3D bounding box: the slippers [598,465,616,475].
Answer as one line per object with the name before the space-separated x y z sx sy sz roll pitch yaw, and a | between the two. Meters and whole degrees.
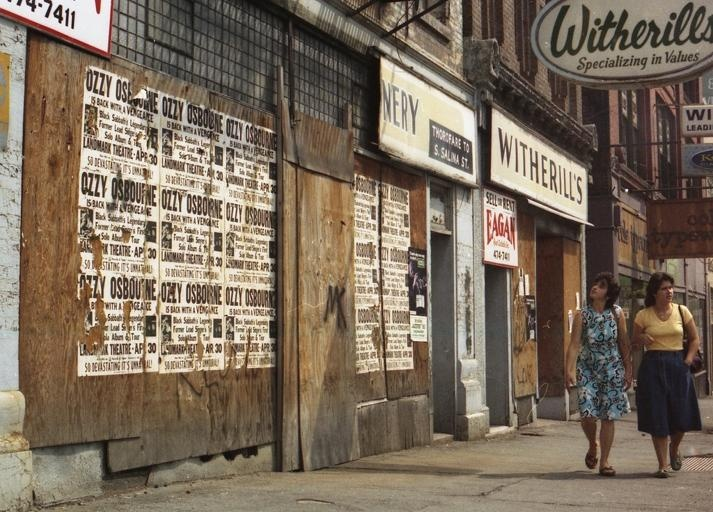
slippers | 3.027 2.584 10.589 0.191 0.130 0.137 -5 -12 5
